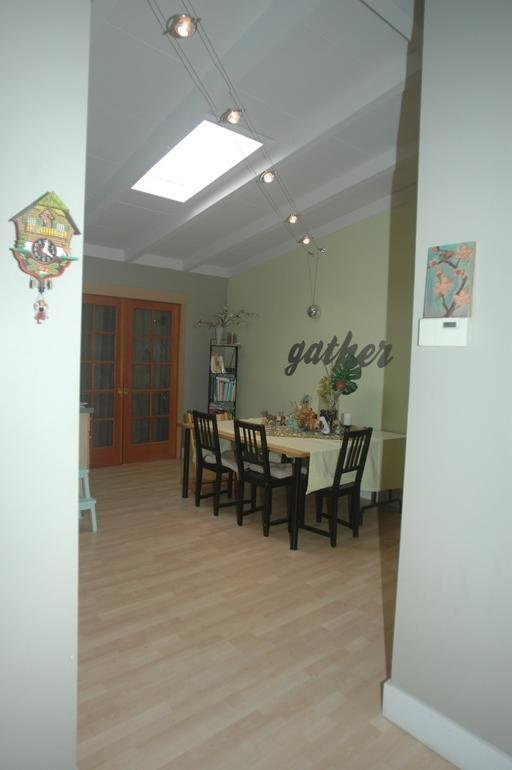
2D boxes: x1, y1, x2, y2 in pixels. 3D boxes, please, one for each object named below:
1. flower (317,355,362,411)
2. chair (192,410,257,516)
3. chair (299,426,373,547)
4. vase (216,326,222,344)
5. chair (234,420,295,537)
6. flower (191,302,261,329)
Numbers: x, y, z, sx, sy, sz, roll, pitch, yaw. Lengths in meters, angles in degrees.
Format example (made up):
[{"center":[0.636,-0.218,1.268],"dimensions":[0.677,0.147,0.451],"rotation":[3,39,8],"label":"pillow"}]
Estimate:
[{"center":[0.608,-0.003,4.221],"dimensions":[0.183,0.411,0.396],"rotation":[-1,5,-32],"label":"flower"},{"center":[-0.266,0.587,4.408],"dimensions":[0.417,0.842,0.458],"rotation":[0,2,-21],"label":"chair"},{"center":[0.495,0.660,3.747],"dimensions":[0.490,0.781,0.514],"rotation":[1,3,-30],"label":"chair"},{"center":[-0.422,-0.574,6.448],"dimensions":[0.090,0.193,0.257],"rotation":[2,4,-4],"label":"vase"},{"center":[0.047,0.631,4.067],"dimensions":[0.426,0.778,1.112],"rotation":[2,4,0],"label":"chair"},{"center":[-0.344,-0.780,6.491],"dimensions":[0.773,0.396,0.276],"rotation":[-7,18,-1],"label":"flower"}]
